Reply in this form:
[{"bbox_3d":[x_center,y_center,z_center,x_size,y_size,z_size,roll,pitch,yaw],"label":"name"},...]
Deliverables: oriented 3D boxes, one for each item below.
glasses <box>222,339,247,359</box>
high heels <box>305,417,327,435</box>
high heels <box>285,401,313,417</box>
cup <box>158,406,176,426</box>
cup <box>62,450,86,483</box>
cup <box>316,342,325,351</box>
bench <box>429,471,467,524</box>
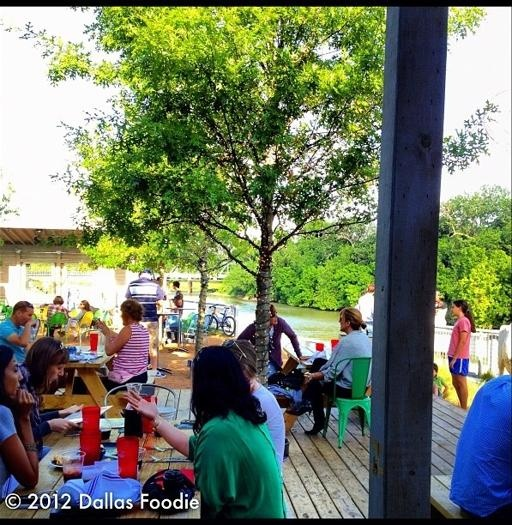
[{"bbox_3d":[-0.090,0.372,2.053,0.055,0.101,0.060,-39,-3,5],"label":"glasses"},{"bbox_3d":[0.677,1.822,5.182,0.287,0.226,0.107,1,1,-7],"label":"high heels"},{"bbox_3d":[0.459,1.505,4.852,0.232,0.138,0.143,-2,-13,-18],"label":"high heels"},{"bbox_3d":[-0.509,0.887,2.678,0.096,0.107,0.172,1,-5,-12],"label":"cup"},{"bbox_3d":[-0.735,0.851,1.939,0.091,0.114,0.101,6,-12,-13],"label":"cup"},{"bbox_3d":[0.872,1.127,6.227,0.085,0.121,0.113,0,-2,-6],"label":"cup"},{"bbox_3d":[1.027,1.265,2.506,0.157,0.056,0.260,6,14,-2],"label":"bench"}]
